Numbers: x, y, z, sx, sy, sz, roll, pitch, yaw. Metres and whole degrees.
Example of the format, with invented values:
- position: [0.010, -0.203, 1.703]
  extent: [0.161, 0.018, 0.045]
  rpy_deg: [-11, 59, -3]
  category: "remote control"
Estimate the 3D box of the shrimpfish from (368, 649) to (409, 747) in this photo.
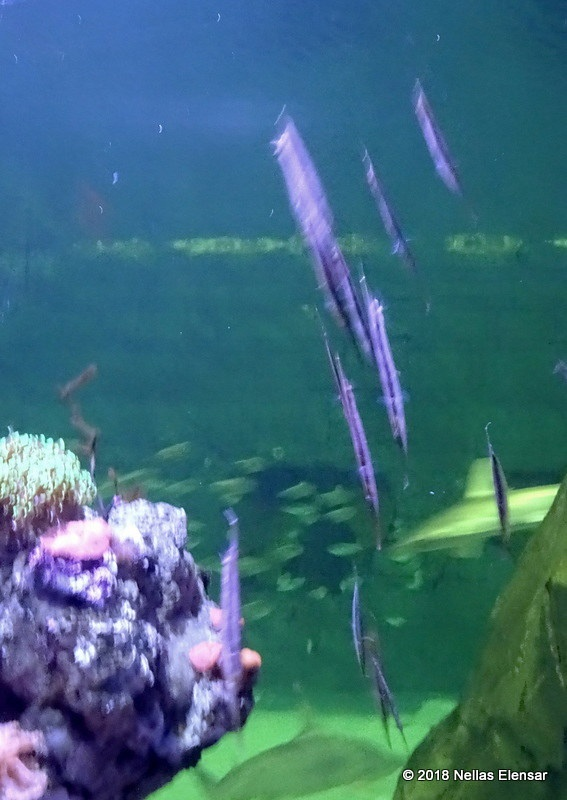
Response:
- position: [0.290, 0.861, 2.541]
  extent: [0.042, 0.310, 0.062]
  rpy_deg: [-9, -35, -8]
  category: "shrimpfish"

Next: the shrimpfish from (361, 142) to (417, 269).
- position: [0.315, -0.578, 2.699]
  extent: [0.102, 0.384, 0.108]
  rpy_deg: [-19, 7, 10]
  category: "shrimpfish"

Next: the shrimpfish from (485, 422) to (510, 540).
- position: [0.627, 0.253, 2.579]
  extent: [0.043, 0.314, 0.045]
  rpy_deg: [-9, -4, 14]
  category: "shrimpfish"

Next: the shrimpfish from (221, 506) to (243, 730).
- position: [-0.163, 0.566, 2.398]
  extent: [0.046, 0.644, 0.088]
  rpy_deg: [-11, -40, 5]
  category: "shrimpfish"

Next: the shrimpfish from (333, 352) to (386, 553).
- position: [0.225, 0.143, 2.627]
  extent: [0.081, 0.602, 0.044]
  rpy_deg: [-17, 2, -36]
  category: "shrimpfish"
